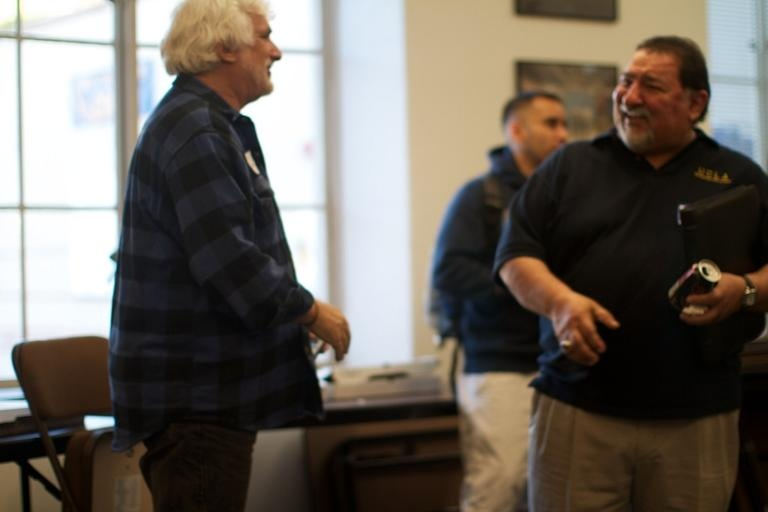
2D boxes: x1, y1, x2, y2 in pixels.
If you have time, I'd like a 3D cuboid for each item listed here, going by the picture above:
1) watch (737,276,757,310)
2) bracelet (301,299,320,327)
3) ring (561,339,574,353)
[{"bbox_3d":[1.134,0.119,2.684,0.065,0.105,0.080,1,2,0],"label":"watch"},{"bbox_3d":[-0.232,0.188,2.853,0.065,0.071,0.060,10,16,4],"label":"bracelet"},{"bbox_3d":[0.558,0.273,2.645,0.031,0.041,0.015,2,3,35],"label":"ring"}]
